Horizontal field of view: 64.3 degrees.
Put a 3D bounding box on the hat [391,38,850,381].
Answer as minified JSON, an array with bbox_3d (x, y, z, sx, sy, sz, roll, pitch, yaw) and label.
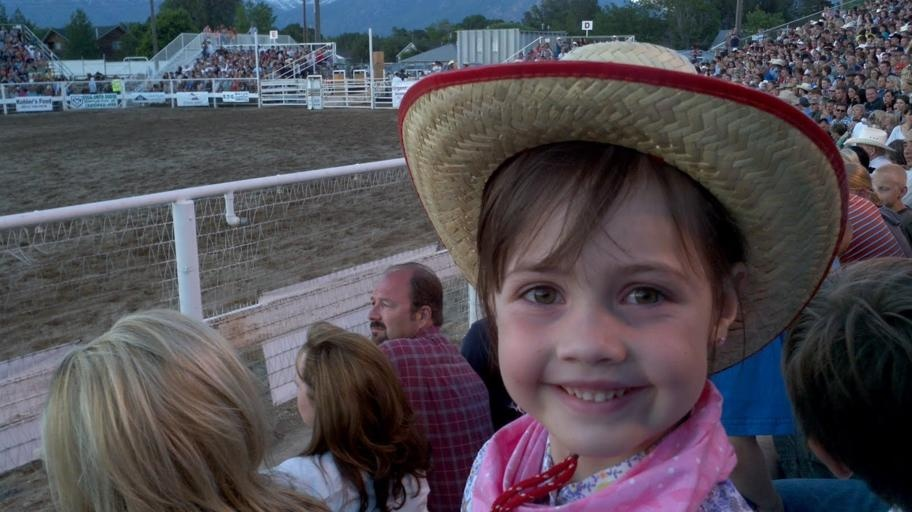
[{"bbox_3d":[0.458,-0.087,2.084,1.203,0.901,0.339,0,13,0],"label":"hat"}]
